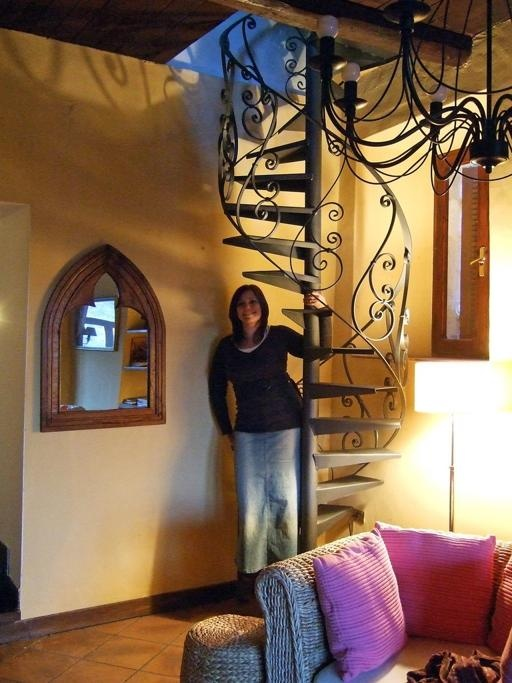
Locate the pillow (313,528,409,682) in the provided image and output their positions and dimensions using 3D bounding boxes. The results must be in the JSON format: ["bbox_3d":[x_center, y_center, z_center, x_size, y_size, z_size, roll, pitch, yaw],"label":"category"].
[{"bbox_3d":[0.350,0.900,2.211,0.181,0.317,0.349,-21,-14,32],"label":"pillow"}]

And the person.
[{"bbox_3d":[-0.005,0.462,3.589,0.556,1.319,0.301,2,-1,16],"label":"person"}]

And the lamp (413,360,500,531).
[{"bbox_3d":[0.931,0.515,3.185,0.365,0.607,0.432,2,-1,11],"label":"lamp"}]

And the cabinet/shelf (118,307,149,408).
[{"bbox_3d":[-0.666,0.140,3.621,0.129,0.415,0.120,2,15,-26],"label":"cabinet/shelf"}]
